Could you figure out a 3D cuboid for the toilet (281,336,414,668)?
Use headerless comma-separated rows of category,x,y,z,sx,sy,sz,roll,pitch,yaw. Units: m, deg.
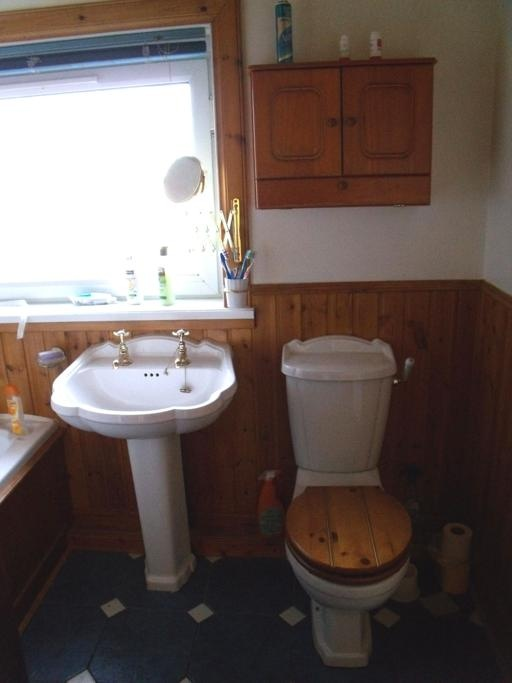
toilet,0.257,0.458,1.665,0.408,0.797,0.721,0,19,16

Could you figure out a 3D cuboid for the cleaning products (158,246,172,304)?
cleaning products,-0.316,-0.222,1.884,0.046,0.198,0.063,-5,18,-1

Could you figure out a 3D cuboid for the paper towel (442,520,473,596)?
paper towel,0.660,0.725,1.837,0.127,0.191,0.116,-1,5,-18

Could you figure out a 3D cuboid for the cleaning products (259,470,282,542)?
cleaning products,0.049,0.594,1.974,0.085,0.280,0.080,-7,18,-6

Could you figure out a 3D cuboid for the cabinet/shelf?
cabinet/shelf,0.251,-0.596,1.569,0.494,0.378,0.212,1,32,10

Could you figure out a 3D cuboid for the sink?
sink,-0.328,0.143,1.655,0.529,0.185,0.531,-6,19,-3

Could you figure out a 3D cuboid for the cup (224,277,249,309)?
cup,-0.067,-0.158,1.796,0.086,0.099,0.092,-1,39,1

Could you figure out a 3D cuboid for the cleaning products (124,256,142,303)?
cleaning products,-0.440,-0.219,1.940,0.051,0.163,0.094,-9,19,-11

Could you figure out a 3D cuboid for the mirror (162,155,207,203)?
mirror,-0.237,-0.520,1.778,0.139,0.143,0.034,15,8,18
